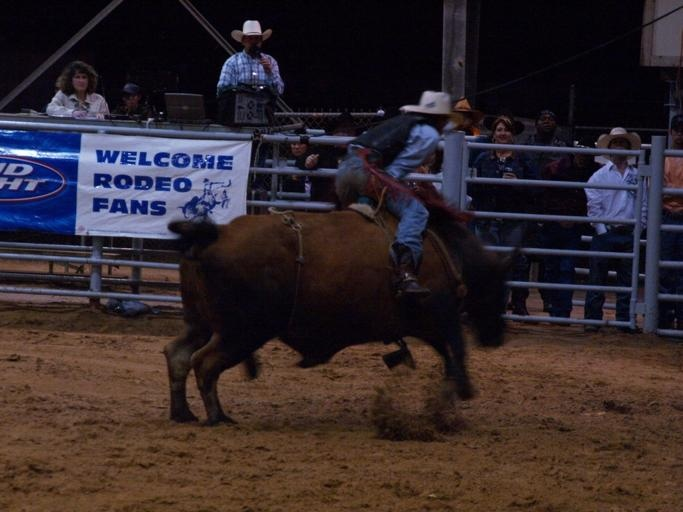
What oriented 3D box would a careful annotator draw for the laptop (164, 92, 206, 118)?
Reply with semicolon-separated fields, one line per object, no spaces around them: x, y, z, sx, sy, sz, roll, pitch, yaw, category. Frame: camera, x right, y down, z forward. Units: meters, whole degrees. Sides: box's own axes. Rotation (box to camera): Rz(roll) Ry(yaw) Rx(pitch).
-2.041;-1.962;11.611;0.583;0.340;0.348;2;27;1;laptop

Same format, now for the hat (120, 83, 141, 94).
-3.101;-2.428;13.069;0.254;0.123;0.297;2;-10;12;hat

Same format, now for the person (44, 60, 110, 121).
-3.561;-2.206;11.910;0.799;0.731;0.974;-2;13;-16;person

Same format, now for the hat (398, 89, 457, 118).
0.908;-1.381;8.102;0.356;0.109;0.388;0;-3;37;hat
